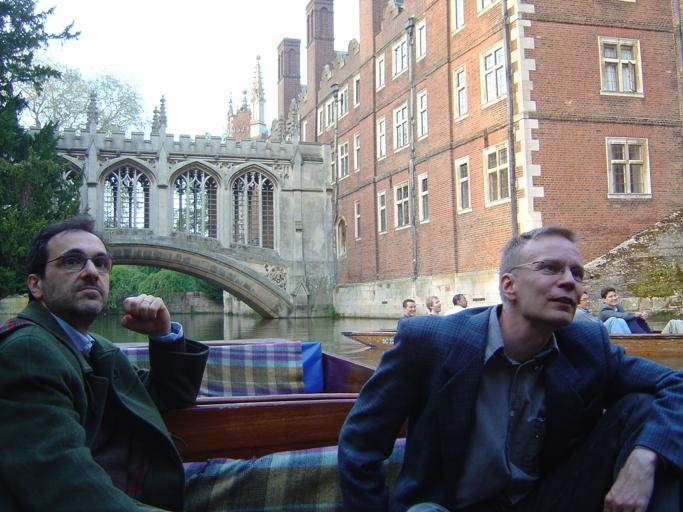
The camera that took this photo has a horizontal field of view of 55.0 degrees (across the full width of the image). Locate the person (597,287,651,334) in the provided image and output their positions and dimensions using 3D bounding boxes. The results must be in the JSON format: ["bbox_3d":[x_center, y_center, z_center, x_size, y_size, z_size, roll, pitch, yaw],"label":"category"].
[{"bbox_3d":[4.017,0.819,9.122,0.707,0.721,0.410,-13,-9,37],"label":"person"}]
